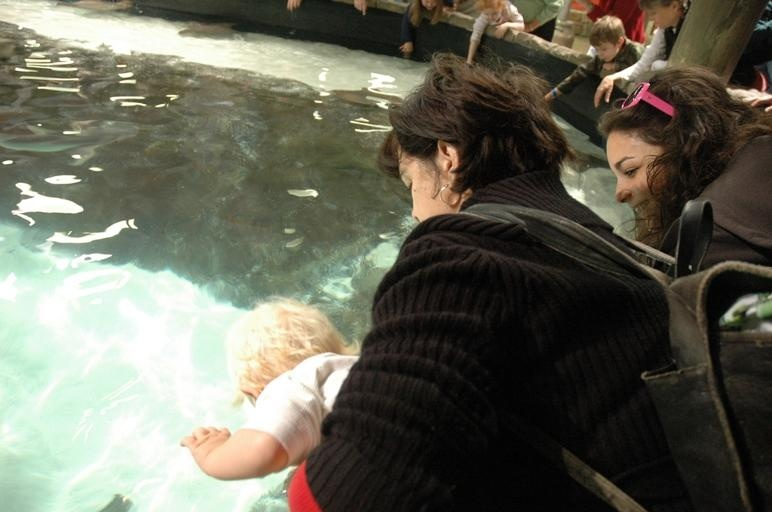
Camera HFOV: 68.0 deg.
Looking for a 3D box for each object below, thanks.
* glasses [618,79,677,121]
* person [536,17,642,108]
[{"bbox_3d":[1.295,-0.767,2.815,0.215,0.212,0.067,37,69,-11],"label":"glasses"},{"bbox_3d":[2.125,-1.971,5.740,1.150,0.635,0.555,-29,36,-17],"label":"person"}]
